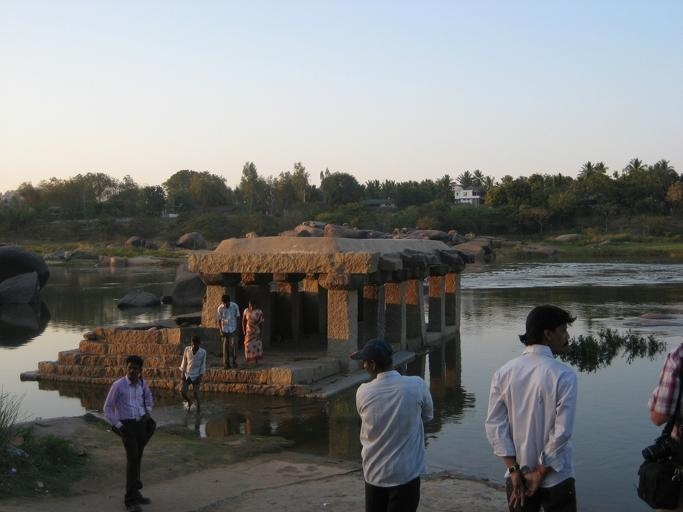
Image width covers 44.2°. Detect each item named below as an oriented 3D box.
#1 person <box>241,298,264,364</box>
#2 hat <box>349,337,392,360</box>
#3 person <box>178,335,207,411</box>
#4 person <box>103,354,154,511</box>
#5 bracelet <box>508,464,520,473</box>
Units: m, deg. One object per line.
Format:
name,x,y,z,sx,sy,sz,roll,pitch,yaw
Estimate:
person,-2.079,1.765,19.748,0.409,1.488,0.414,-1,8,-11
hat,0.405,1.177,10.750,0.433,0.209,0.276,-5,0,10
person,-2.996,2.336,16.910,0.466,1.560,0.621,-1,7,-6
person,-3.169,2.629,12.701,0.680,2.136,0.930,2,7,11
bracelet,2.077,2.541,10.064,0.095,0.057,0.126,2,9,11
